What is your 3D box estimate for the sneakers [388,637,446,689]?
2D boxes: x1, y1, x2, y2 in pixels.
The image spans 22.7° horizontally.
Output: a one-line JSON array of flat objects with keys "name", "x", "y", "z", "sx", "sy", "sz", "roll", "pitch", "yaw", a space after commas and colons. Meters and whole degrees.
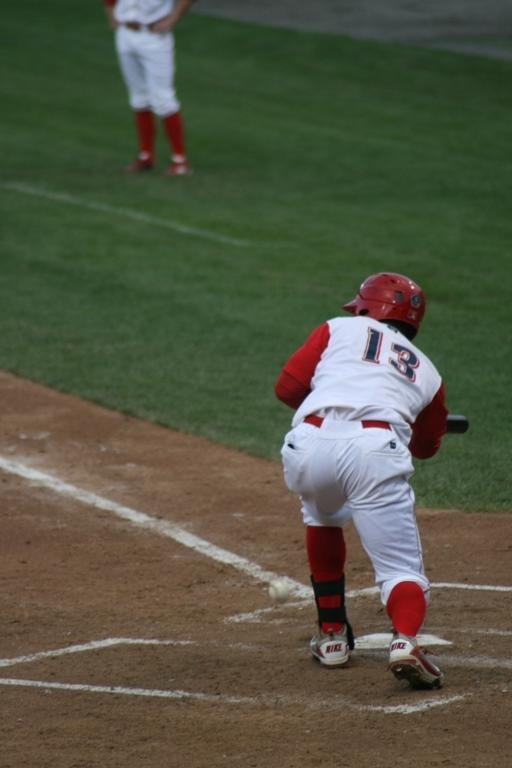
[{"name": "sneakers", "x": 0.608, "y": 0.989, "z": 4.494, "sx": 0.108, "sy": 0.272, "sz": 0.130, "roll": -27, "pitch": 47, "yaw": 21}]

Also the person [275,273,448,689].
[{"name": "person", "x": 0.423, "y": 0.502, "z": 4.785, "sx": 0.655, "sy": 1.232, "sz": 1.130, "roll": -2, "pitch": 31, "yaw": 1}]

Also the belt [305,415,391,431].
[{"name": "belt", "x": 0.336, "y": 0.142, "z": 4.685, "sx": 0.152, "sy": 0.039, "sz": 0.117, "roll": -2, "pitch": -8, "yaw": 33}]

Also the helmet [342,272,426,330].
[{"name": "helmet", "x": 0.508, "y": -0.332, "z": 5.124, "sx": 0.348, "sy": 0.190, "sz": 0.240, "roll": 7, "pitch": -7, "yaw": 32}]
